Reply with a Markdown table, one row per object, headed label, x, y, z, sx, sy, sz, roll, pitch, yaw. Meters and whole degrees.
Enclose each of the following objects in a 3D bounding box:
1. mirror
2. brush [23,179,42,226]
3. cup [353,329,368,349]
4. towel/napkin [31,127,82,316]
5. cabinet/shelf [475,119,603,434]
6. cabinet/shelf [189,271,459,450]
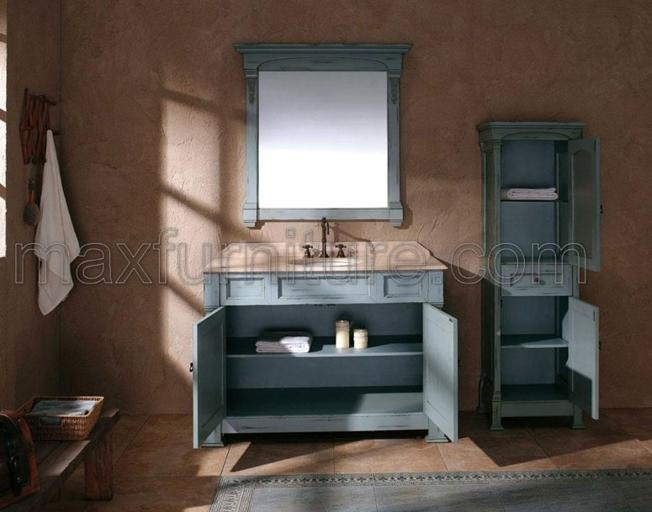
| label | x | y | z | sx | sy | sz | roll | pitch | yaw |
| --- | --- | --- | --- | --- | --- | --- | --- | --- | --- |
| mirror | -0.047 | -0.916 | 4.502 | 1.303 | 1.319 | 0.272 | 0 | 0 | -2 |
| brush | -1.966 | -0.364 | 4.261 | 0.074 | 0.303 | 0.225 | -2 | 14 | -7 |
| cup | 0.239 | 0.559 | 4.316 | 0.111 | 0.116 | 0.108 | 0 | 1 | 0 |
| towel/napkin | -1.884 | -0.229 | 4.321 | 0.173 | 1.206 | 0.315 | 6 | 15 | 27 |
| cabinet/shelf | 1.471 | 0.124 | 4.409 | 0.888 | 2.050 | 0.881 | 2 | 14 | 12 |
| cabinet/shelf | -0.006 | 0.648 | 4.172 | 1.650 | 1.025 | 1.190 | -1 | 4 | -5 |
